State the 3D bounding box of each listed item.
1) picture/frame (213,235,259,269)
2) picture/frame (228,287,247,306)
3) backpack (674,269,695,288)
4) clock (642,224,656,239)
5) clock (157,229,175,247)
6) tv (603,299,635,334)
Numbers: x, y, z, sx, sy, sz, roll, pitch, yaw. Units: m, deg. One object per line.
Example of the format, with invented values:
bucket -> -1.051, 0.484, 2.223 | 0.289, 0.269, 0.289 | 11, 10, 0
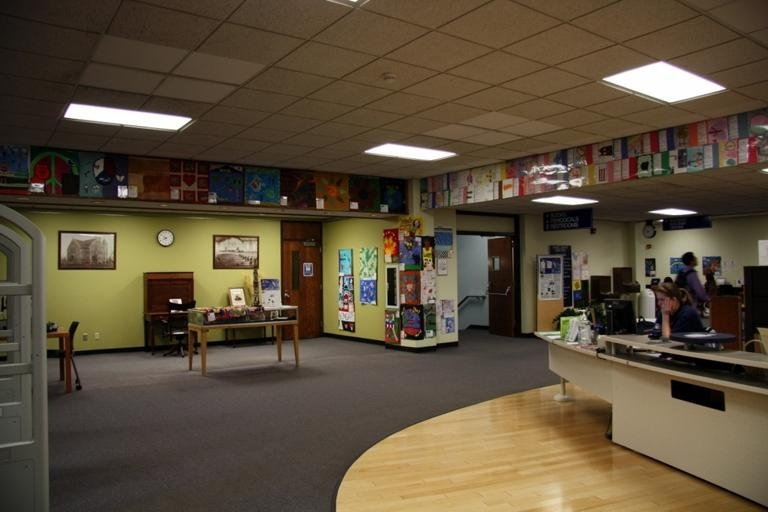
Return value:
picture/frame -> -3.825, -0.095, 12.935 | 0.937, 0.690, 0.065 | 1, -6, -29
picture/frame -> -3.701, 1.043, 12.743 | 0.513, 0.557, 0.095 | 0, -20, -32
backpack -> 5.876, 0.455, 9.935 | 0.224, 0.403, 0.302 | 16, 2, -22
clock -> 7.898, -0.750, 15.205 | 0.388, 0.476, 0.161 | 2, 6, 34
clock -> -5.269, -0.426, 12.245 | 0.468, 0.469, 0.055 | -1, -4, -32
tv -> 3.035, 0.772, 6.542 | 0.352, 0.426, 0.302 | 1, 5, 23
